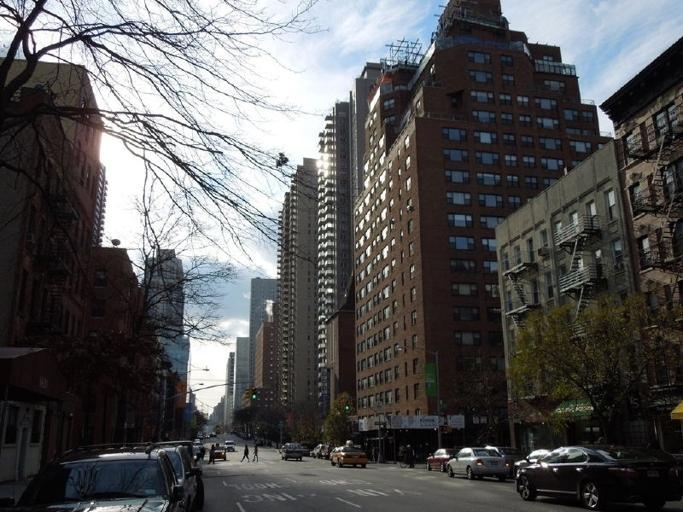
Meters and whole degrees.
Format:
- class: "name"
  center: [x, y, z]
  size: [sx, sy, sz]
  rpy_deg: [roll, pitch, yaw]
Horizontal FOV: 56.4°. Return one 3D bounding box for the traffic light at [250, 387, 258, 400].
- class: "traffic light"
  center: [-7.321, 11.405, 53.057]
  size: [0.364, 0.936, 2.027]
  rpy_deg: [3, -23, -10]
